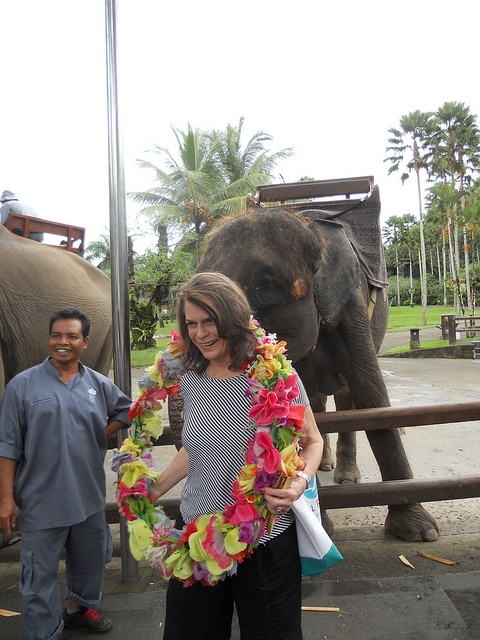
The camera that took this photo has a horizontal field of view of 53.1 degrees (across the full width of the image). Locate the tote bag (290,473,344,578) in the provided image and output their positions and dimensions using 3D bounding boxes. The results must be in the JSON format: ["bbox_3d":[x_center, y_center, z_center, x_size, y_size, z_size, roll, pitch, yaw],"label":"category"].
[{"bbox_3d":[0.201,0.581,1.327,0.140,0.313,0.163,-2,-3,-9],"label":"tote bag"}]

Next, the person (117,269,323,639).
[{"bbox_3d":[-0.038,0.384,1.389,0.547,1.134,0.400,-5,-4,43],"label":"person"}]

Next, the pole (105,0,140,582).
[{"bbox_3d":[-0.577,-0.147,2.299,0.091,2.869,0.547,-2,-3,-15],"label":"pole"}]
